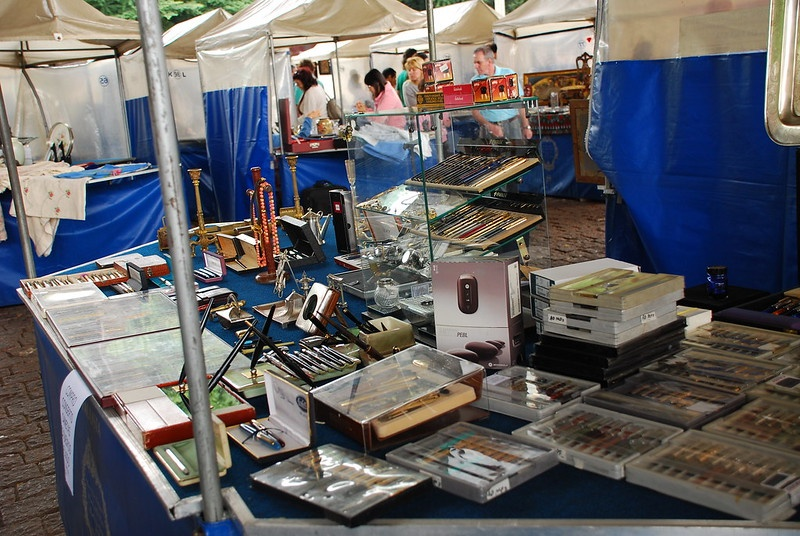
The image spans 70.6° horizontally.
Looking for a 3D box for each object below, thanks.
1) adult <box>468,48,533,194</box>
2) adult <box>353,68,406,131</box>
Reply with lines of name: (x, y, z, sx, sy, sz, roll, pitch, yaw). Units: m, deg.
adult: (0.395, -0.589, 2.336, 0.287, 0.586, 0.202, -8, 20, 4)
adult: (-0.265, -1.906, 6.621, 0.570, 0.861, 0.429, -6, 46, -14)
